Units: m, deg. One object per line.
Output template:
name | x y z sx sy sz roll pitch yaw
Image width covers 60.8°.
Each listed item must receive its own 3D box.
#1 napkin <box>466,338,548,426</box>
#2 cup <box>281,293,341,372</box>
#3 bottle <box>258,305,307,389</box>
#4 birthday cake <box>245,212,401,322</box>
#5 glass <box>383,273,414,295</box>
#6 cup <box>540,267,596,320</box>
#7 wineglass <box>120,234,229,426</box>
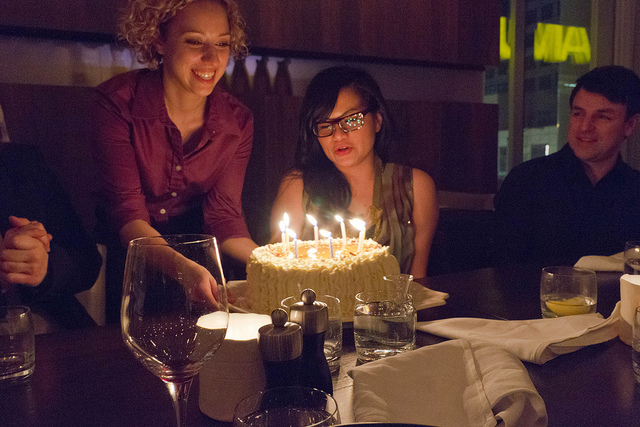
napkin | 0.471 0.426 1.382 0.142 0.141 0.231 -3 9 -4
cup | -0.050 0.317 1.502 0.184 0.206 0.196 -2 0 0
bottle | -0.092 0.361 1.321 0.113 0.266 0.115 -3 7 0
birthday cake | 0.008 0.203 2.088 0.591 0.349 0.609 -14 -18 37
glass | 0.248 0.218 1.711 0.069 0.054 0.067 2 -6 -25
cup | 0.820 0.290 1.771 0.160 0.161 0.157 6 -9 1
wineglass | -0.322 0.261 1.227 0.221 0.415 0.116 0 10 14
